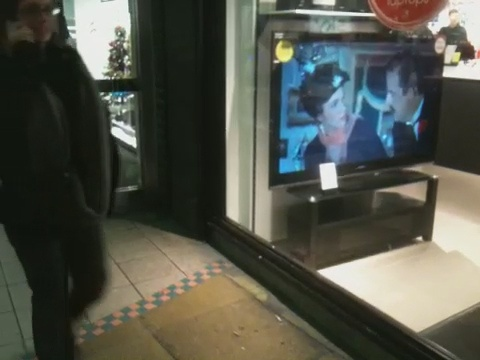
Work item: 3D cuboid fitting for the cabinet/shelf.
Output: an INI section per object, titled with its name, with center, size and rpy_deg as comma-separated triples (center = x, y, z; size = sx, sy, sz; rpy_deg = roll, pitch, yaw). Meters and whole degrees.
[cabinet/shelf]
center = 0.980, 0.311, 3.225
size = 1.285, 0.640, 0.721
rpy_deg = -11, 26, -22

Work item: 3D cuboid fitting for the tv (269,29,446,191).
[tv]
center = 0.874, -0.551, 2.953
size = 1.394, 1.056, 0.019
rpy_deg = -5, 7, -12
